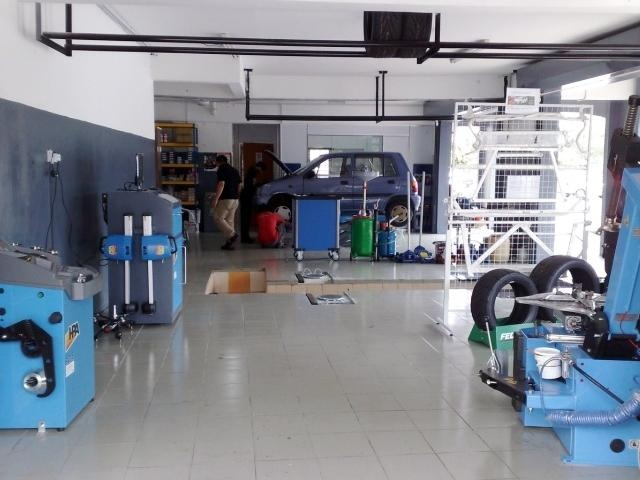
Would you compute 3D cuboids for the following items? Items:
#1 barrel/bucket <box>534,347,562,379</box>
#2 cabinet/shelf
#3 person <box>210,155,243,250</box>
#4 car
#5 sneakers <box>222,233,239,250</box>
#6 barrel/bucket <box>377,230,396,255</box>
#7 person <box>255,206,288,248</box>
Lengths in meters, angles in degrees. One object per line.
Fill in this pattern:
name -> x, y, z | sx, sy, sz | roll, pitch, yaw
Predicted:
barrel/bucket -> 1.573, 0.866, 3.758 | 0.201, 0.213, 0.186 | 1, 10, 0
cabinet/shelf -> -3.656, -1.716, 13.639 | 0.978, 2.218, 0.535 | 4, 2, -18
person -> -1.858, -0.731, 10.884 | 0.523, 1.885, 0.892 | -1, 10, -9
car -> 0.309, -1.349, 12.903 | 3.736, 1.682, 1.904 | -1, 10, -13
sneakers -> -1.792, -0.017, 11.126 | 0.216, 0.194, 0.533 | 30, 22, -10
barrel/bucket -> 1.206, 0.053, 10.052 | 0.382, 0.477, 0.420 | 0, 1, 0
person -> -0.924, -0.247, 11.268 | 0.857, 0.958, 0.689 | 3, 7, 14
